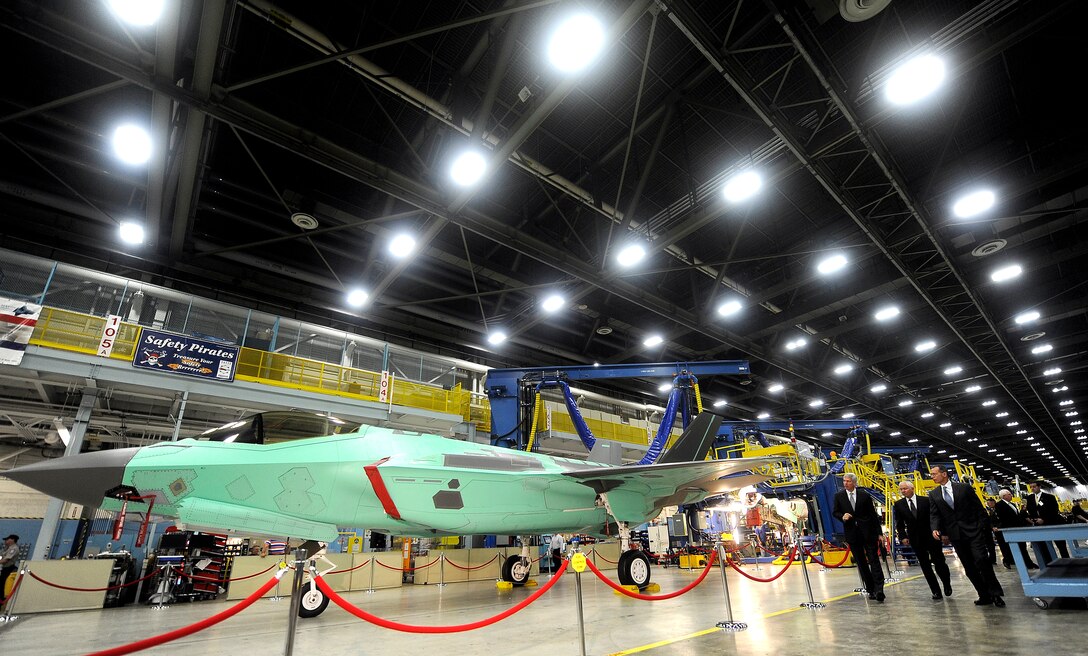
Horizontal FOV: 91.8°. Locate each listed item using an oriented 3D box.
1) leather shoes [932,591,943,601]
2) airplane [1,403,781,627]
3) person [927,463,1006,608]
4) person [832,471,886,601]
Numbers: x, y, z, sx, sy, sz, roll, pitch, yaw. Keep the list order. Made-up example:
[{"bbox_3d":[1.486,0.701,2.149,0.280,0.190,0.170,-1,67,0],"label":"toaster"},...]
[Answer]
[{"bbox_3d":[10.027,6.910,13.492,0.290,0.218,0.161,-4,-9,23],"label":"leather shoes"},{"bbox_3d":[-3.620,4.238,14.124,13.568,2.929,9.382,6,-16,-27],"label":"airplane"},{"bbox_3d":[10.336,5.112,13.062,1.063,3.330,1.529,-17,-28,39],"label":"person"},{"bbox_3d":[8.296,5.482,13.909,0.985,3.207,1.204,-9,-25,27],"label":"person"}]
